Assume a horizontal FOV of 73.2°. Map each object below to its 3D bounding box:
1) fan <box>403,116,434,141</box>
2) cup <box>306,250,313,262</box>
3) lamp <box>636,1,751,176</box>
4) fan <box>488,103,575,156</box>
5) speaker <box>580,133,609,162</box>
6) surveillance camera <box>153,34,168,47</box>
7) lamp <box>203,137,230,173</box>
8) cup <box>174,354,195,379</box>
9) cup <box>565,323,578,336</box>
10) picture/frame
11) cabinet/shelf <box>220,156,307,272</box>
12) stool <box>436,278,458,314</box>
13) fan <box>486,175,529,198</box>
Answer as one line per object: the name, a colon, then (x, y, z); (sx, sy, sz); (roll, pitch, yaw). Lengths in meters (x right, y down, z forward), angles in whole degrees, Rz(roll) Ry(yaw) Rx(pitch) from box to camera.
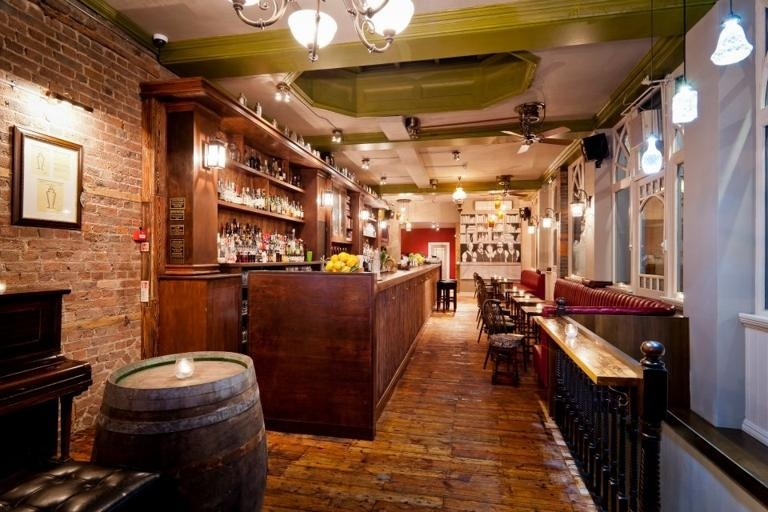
fan: (0.507, -1.970, 7.971); (0.377, 0.356, 0.864); (1, 14, 9)
cup: (-1.258, -0.001, 8.696); (0.147, 0.227, 0.146); (0, -7, 0)
lamp: (2.931, -1.607, 4.815); (0.736, 1.624, 1.477); (9, 17, 33)
fan: (2.078, -1.787, 7.168); (0.840, 0.397, 0.827); (2, -3, -7)
speaker: (3.223, -1.592, 7.898); (0.469, 0.435, 0.391); (0, 0, -17)
surveillance camera: (-2.457, -2.361, 5.641); (0.157, 0.126, 0.140); (-6, 15, -19)
lamp: (-1.918, -1.147, 5.815); (0.238, 0.352, 0.281); (-3, 15, -6)
cup: (-1.424, 0.787, 3.672); (0.130, 0.122, 0.129); (-1, 1, 0)
cup: (1.805, 0.711, 4.956); (0.100, 0.106, 0.098); (0, 1, 0)
picture/frame: (-3.141, -0.709, 4.802); (0.675, 0.961, 0.230); (-13, 19, -38)
cabinet/shelf: (-1.741, -0.545, 7.499); (0.780, 1.707, 2.469); (-1, 14, 2)
stool: (1.605, 0.951, 12.713); (0.649, 0.766, 0.634); (9, -7, -31)
fan: (2.960, -1.691, 12.342); (0.775, 0.576, 1.340); (2, 14, 10)
